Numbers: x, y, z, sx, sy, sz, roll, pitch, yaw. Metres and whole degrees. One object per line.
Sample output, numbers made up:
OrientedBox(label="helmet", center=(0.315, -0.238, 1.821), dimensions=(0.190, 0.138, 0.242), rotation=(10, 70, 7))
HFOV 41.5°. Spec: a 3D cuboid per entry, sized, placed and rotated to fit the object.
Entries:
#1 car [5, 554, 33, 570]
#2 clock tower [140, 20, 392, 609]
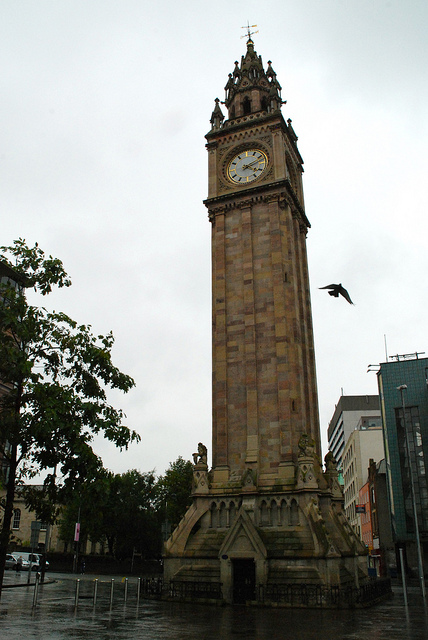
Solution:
OrientedBox(label="car", center=(-17.019, 20.728, 48.715), dimensions=(1.874, 1.216, 4.923), rotation=(8, -24, -18))
OrientedBox(label="clock tower", center=(2.622, -2.241, 34.215), dimensions=(13.426, 35.953, 13.520), rotation=(-2, -12, 3))
